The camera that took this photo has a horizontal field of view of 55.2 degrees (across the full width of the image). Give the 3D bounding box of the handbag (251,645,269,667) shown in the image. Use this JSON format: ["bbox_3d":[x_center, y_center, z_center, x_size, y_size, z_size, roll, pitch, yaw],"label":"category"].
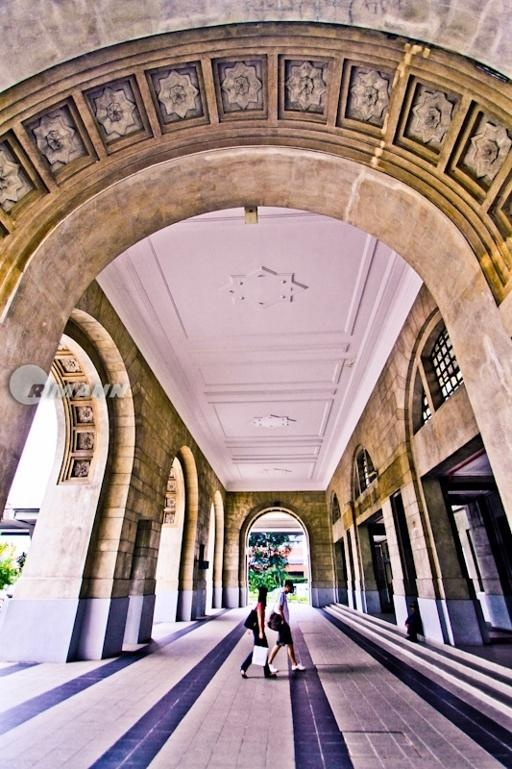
[{"bbox_3d":[0.053,3.212,5.585,0.211,0.268,0.238,5,-54,-1],"label":"handbag"}]

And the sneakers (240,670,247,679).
[{"bbox_3d":[-0.156,3.652,5.955,0.091,0.146,0.056,0,-18,-8],"label":"sneakers"}]

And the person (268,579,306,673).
[{"bbox_3d":[0.723,5.389,10.684,0.781,2.060,1.052,3,-44,-4],"label":"person"}]

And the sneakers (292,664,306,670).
[{"bbox_3d":[0.593,3.823,6.355,0.143,0.091,0.091,17,-28,-25],"label":"sneakers"}]
